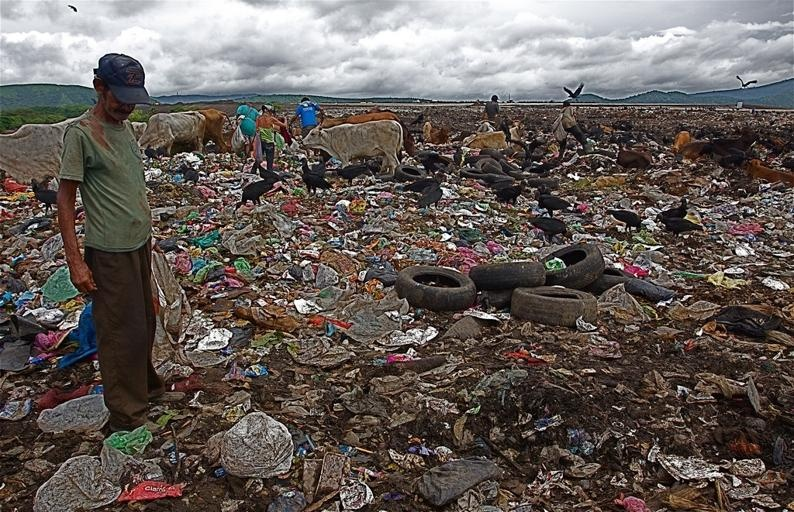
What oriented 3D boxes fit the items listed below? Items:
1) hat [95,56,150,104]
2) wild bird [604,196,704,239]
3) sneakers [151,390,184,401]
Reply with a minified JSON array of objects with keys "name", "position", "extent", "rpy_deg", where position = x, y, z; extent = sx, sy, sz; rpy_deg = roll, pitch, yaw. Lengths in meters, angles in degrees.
[{"name":"hat","position":[-2.213,-1.408,3.621],"extent":[0.331,0.382,0.222],"rpy_deg":[-11,26,-24]},{"name":"wild bird","position":[5.002,-0.707,8.772],"extent":[1.443,0.762,0.371],"rpy_deg":[12,53,-16]},{"name":"sneakers","position":[-2.188,1.347,4.309],"extent":[0.240,0.043,0.112],"rpy_deg":[5,3,-12]}]
